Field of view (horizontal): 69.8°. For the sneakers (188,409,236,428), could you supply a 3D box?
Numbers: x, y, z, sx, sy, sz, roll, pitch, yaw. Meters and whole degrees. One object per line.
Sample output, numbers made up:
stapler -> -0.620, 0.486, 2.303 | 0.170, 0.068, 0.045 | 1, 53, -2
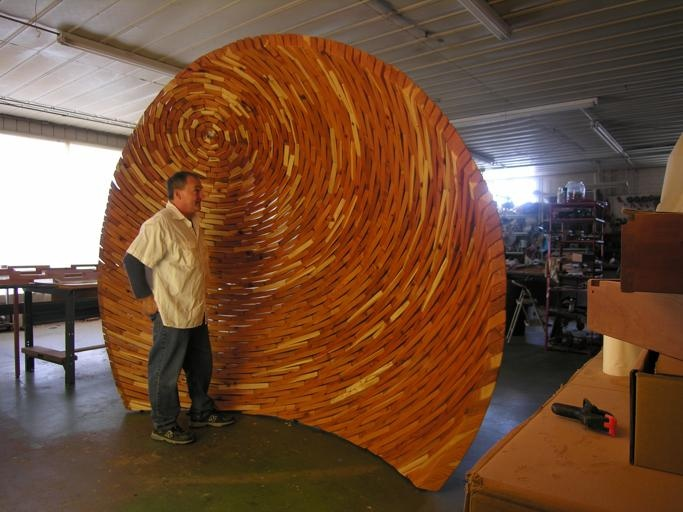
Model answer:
sneakers -> -0.795, 1.015, 3.069 | 0.294, 0.116, 0.106 | -1, -2, -3

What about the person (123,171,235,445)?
person -> -0.967, 0.294, 2.929 | 0.386, 1.584, 0.456 | 4, 9, 41

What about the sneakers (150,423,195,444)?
sneakers -> -0.979, 1.048, 2.897 | 0.262, 0.106, 0.098 | 0, -3, 14
